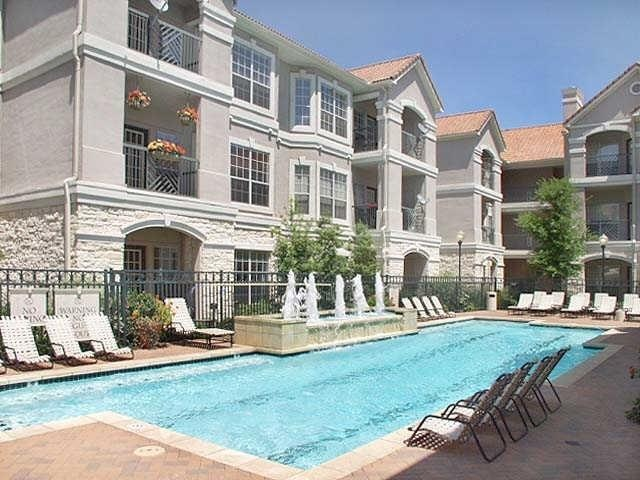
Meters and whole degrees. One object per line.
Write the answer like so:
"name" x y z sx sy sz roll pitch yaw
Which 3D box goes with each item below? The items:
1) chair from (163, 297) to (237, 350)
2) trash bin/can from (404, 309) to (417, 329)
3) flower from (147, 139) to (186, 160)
"chair" -3.923 2.682 17.841 2.539 1.373 0.982 -3 -7 43
"trash bin/can" 3.682 3.255 22.828 0.424 0.740 0.760 -5 -6 37
"flower" -5.383 -3.156 19.482 1.192 0.644 0.383 2 -7 -36
